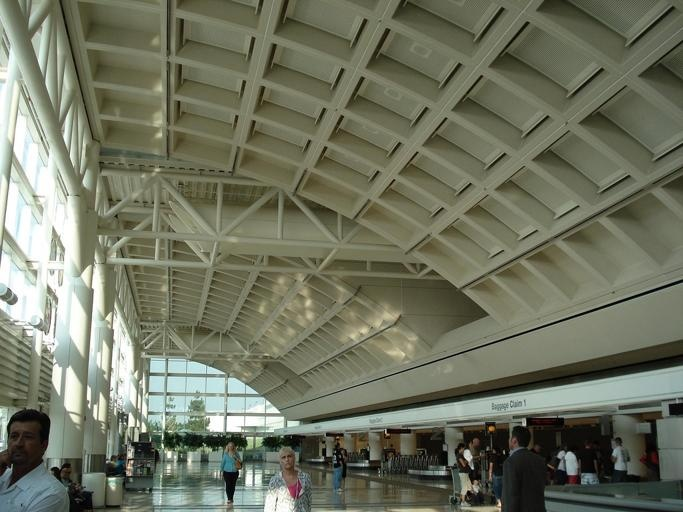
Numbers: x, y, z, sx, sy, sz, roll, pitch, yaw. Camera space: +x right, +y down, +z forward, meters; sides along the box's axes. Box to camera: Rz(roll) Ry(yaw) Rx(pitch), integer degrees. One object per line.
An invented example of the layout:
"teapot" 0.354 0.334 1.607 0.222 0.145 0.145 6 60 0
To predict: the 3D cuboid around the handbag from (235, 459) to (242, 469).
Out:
"handbag" -3.769 7.713 17.711 0.124 0.296 0.234 7 6 33
